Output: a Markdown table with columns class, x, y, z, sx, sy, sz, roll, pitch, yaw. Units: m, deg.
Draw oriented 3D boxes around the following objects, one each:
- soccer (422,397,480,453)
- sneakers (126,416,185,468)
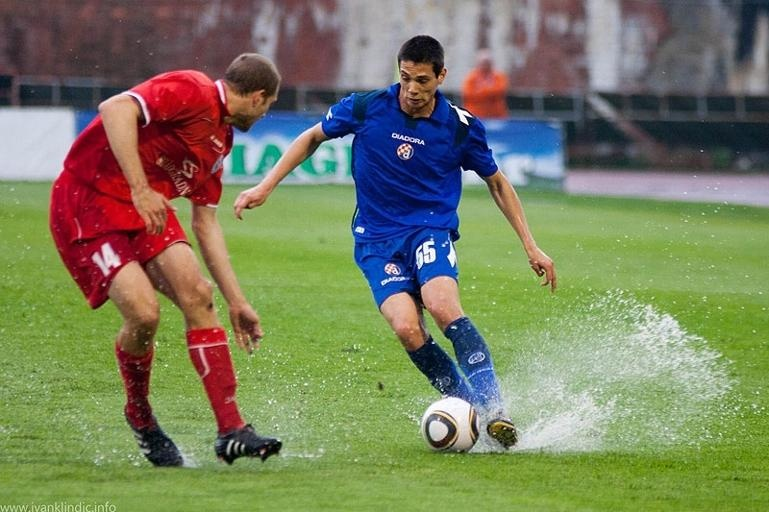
| class | x | y | z | sx | sy | sz | roll | pitch | yaw |
| --- | --- | --- | --- | --- | --- | --- | --- | --- | --- |
| soccer | 0.497 | 1.300 | 8.673 | 0.416 | 0.395 | 0.387 | 1 | -9 | -45 |
| sneakers | -1.660 | 1.439 | 8.580 | 0.260 | 0.198 | 0.545 | 19 | -6 | -7 |
